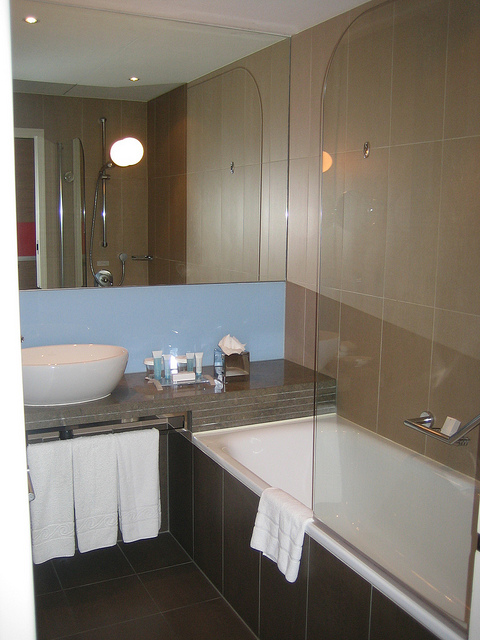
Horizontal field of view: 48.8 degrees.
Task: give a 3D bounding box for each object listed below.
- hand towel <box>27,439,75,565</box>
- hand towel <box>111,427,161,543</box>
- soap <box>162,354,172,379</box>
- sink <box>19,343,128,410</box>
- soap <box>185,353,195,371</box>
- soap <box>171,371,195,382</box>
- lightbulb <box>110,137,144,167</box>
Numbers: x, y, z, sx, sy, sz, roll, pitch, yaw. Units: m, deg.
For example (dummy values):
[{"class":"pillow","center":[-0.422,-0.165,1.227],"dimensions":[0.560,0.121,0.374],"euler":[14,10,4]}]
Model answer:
[{"class":"hand towel","center":[-0.835,0.808,2.361],"dimensions":[0.185,0.539,0.115],"euler":[-4,6,-27]},{"class":"hand towel","center":[-0.487,0.786,2.526],"dimensions":[0.183,0.568,0.157],"euler":[-2,11,-27]},{"class":"soap","center":[-0.402,0.256,2.901],"dimensions":[0.041,0.121,0.075],"euler":[-1,6,-7]},{"class":"sink","center":[-0.794,0.262,2.558],"dimensions":[0.472,0.226,0.548],"euler":[-5,8,-26]},{"class":"soap","center":[-0.281,0.237,2.932],"dimensions":[0.062,0.134,0.032],"euler":[-2,14,-17]},{"class":"soap","center":[-0.303,0.307,2.834],"dimensions":[0.121,0.041,0.014],"euler":[-4,6,-20]},{"class":"lightbulb","center":[-0.622,-0.919,2.897],"dimensions":[0.132,0.174,0.077],"euler":[-16,16,-29]}]
